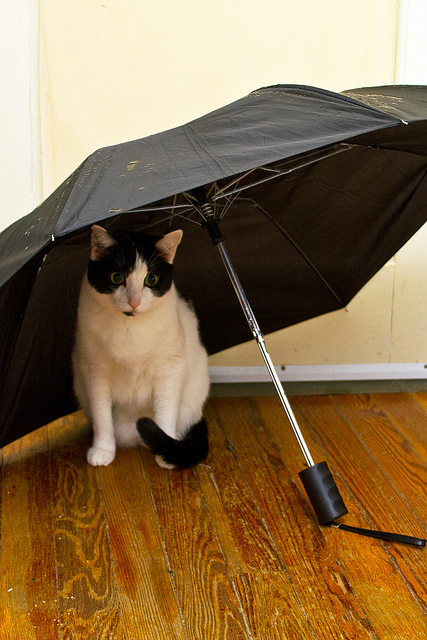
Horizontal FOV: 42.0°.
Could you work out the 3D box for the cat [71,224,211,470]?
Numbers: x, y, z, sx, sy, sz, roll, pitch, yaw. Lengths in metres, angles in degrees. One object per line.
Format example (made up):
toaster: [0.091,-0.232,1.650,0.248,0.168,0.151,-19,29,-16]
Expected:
cat: [-0.198,0.074,1.511,0.365,0.579,0.593,2,7,-6]
